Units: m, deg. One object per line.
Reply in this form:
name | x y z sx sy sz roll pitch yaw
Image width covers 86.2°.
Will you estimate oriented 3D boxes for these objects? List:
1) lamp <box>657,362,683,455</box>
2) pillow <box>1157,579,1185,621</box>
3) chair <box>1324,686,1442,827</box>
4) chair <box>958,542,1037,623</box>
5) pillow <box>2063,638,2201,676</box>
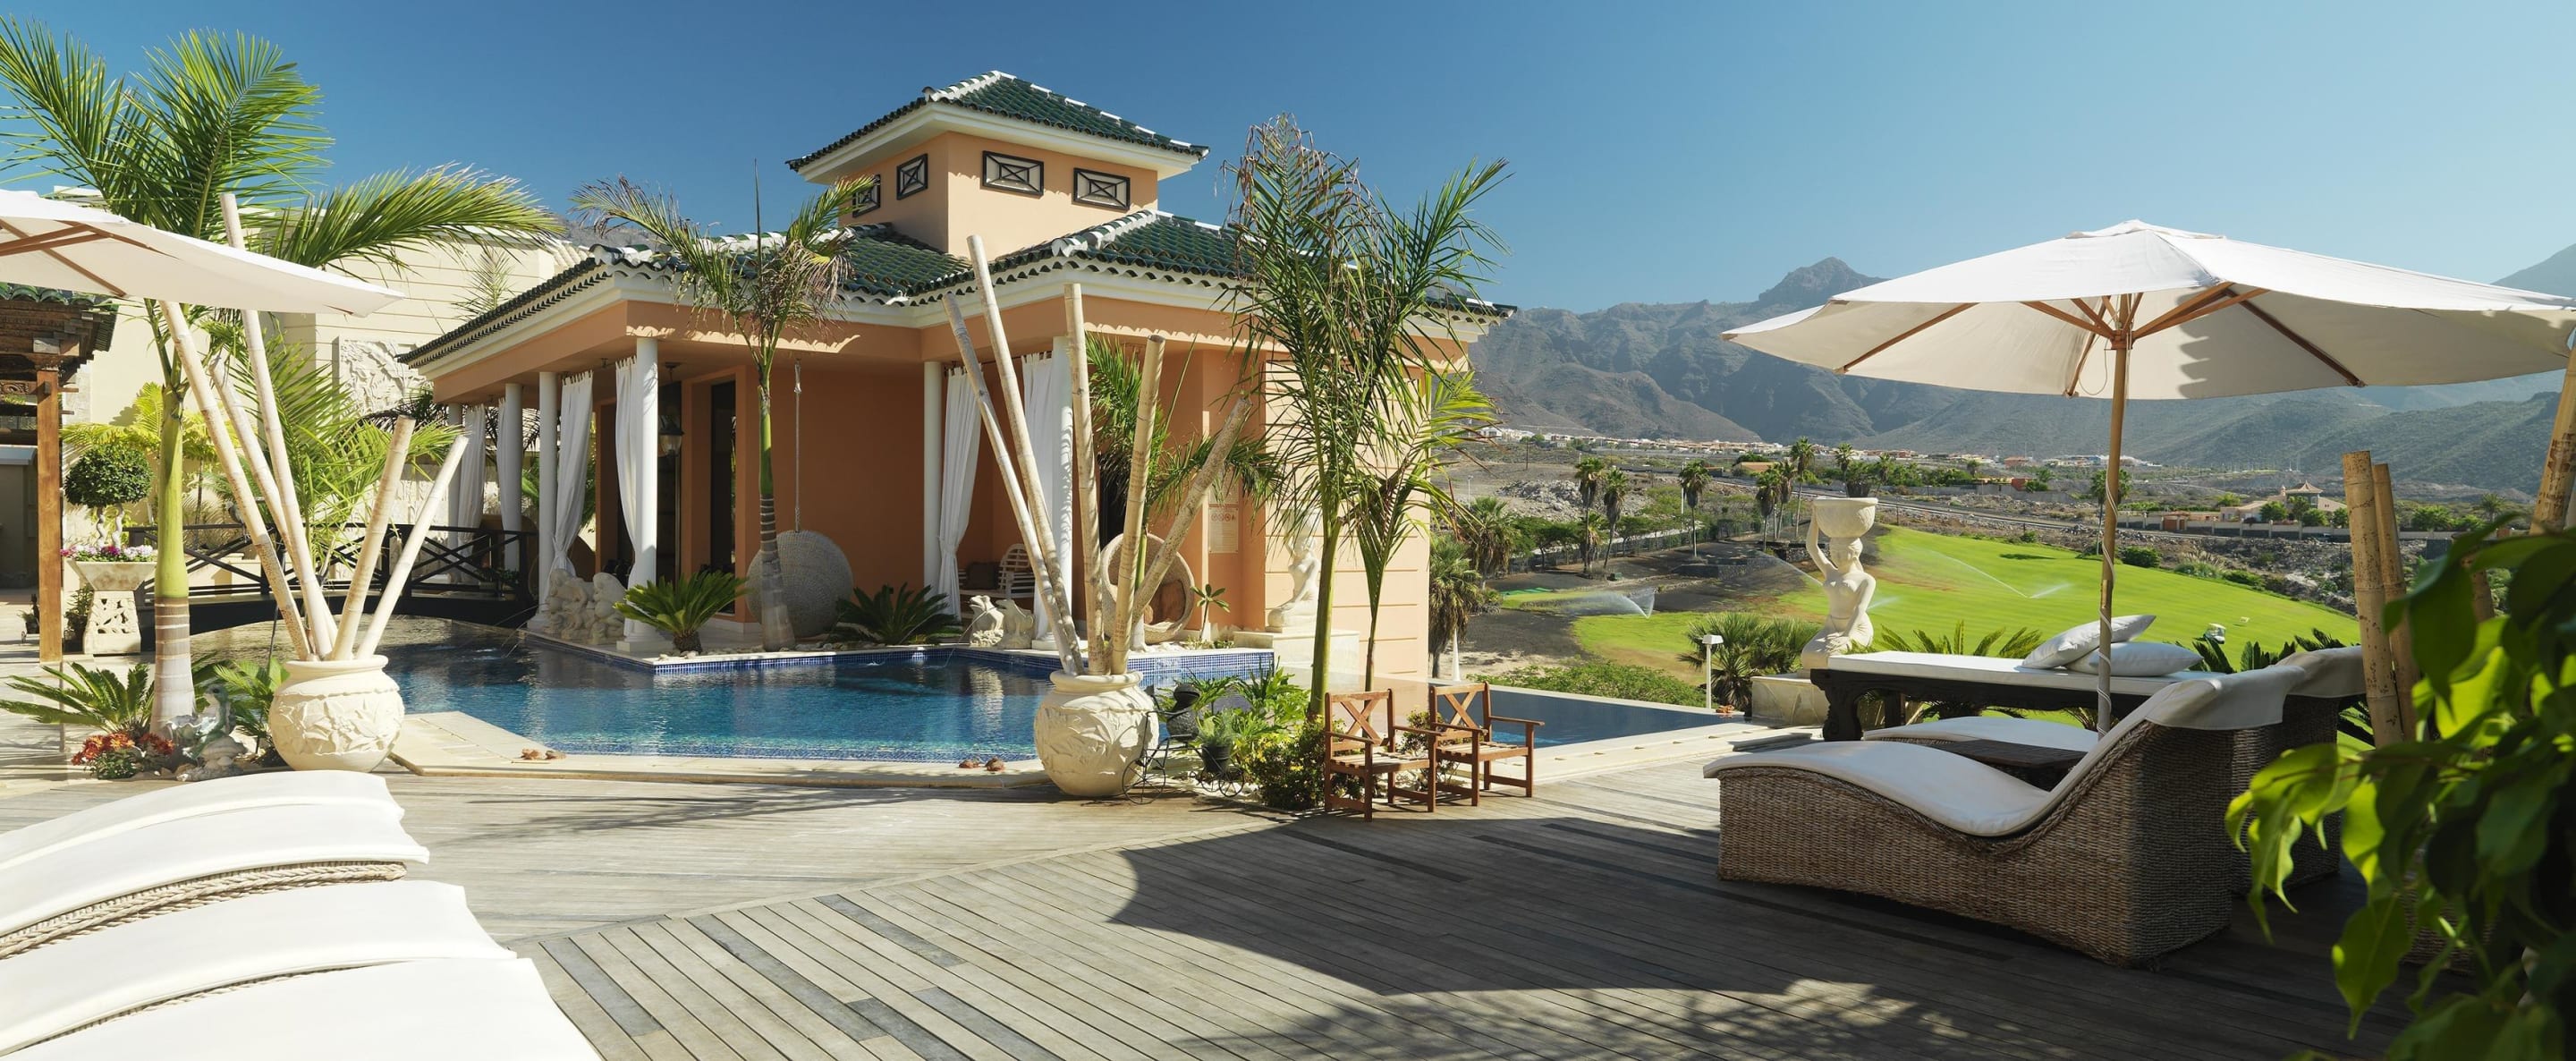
lamp | -14.281 -2.670 31.607 0.525 1.968 1.590 -7 12 -29
pillow | -2.339 1.349 26.893 0.873 0.657 0.307 4 2 20
chair | 1.250 2.865 18.167 1.431 1.489 1.372 6 11 31
chair | -5.891 1.073 28.789 1.748 1.727 2.249 3 -4 -44
pillow | 11.257 1.685 18.057 0.996 0.220 0.812 -2 0 -16
